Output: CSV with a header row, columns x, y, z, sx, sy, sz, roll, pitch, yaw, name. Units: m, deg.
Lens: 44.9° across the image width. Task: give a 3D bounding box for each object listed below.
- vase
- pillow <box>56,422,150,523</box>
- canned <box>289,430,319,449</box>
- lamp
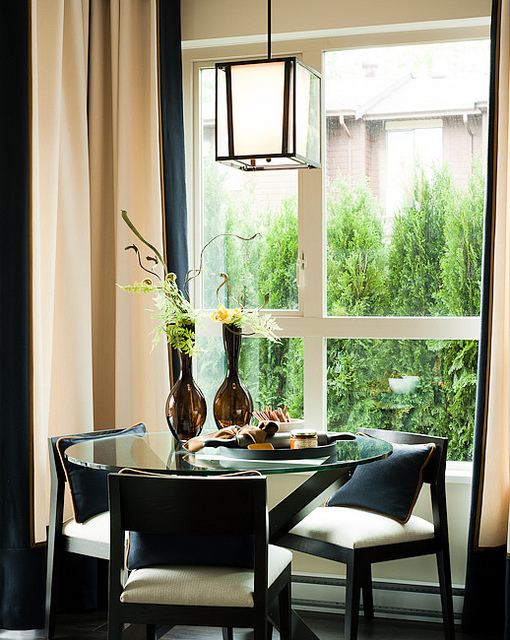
x,y,z,sx,sy,sz,roll,pitch,yaw,name
-0.076,0.200,2.115,0.131,0.359,0.227,-1,4,-13,vase
-0.502,0.500,2.174,0.257,0.424,0.280,-7,13,-43,pillow
0.138,0.338,1.785,0.050,0.059,0.055,0,-2,22,canned
0.040,-0.543,1.663,0.241,0.277,0.332,1,4,17,lamp
